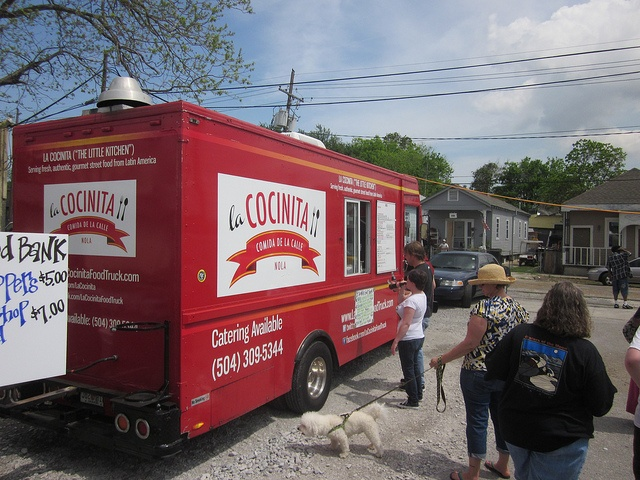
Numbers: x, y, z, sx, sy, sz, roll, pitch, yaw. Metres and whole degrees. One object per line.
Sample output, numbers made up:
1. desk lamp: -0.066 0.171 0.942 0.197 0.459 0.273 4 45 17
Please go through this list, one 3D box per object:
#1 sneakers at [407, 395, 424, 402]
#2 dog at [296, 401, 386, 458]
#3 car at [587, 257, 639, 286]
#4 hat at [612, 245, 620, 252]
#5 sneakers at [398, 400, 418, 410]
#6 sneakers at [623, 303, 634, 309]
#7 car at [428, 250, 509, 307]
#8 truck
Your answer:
1. sneakers: 1.312 2.180 7.131 0.184 0.136 0.065 2 0 2
2. dog: 0.286 2.131 5.826 1.002 0.578 0.377 -3 2 -9
3. car: 10.014 1.132 17.752 2.267 1.074 1.095 3 0 22
4. hat: 7.640 0.262 13.499 0.141 0.201 0.184 6 14 45
5. sneakers: 1.175 2.227 7.067 0.293 0.161 0.111 4 -6 8
6. sneakers: 8.554 1.855 14.521 0.406 0.180 0.135 5 3 -35
7. car: 4.086 1.093 15.188 1.319 1.169 3.114 -2 -5 31
8. truck: -1.013 0.281 7.187 2.484 2.816 4.983 1 2 33
